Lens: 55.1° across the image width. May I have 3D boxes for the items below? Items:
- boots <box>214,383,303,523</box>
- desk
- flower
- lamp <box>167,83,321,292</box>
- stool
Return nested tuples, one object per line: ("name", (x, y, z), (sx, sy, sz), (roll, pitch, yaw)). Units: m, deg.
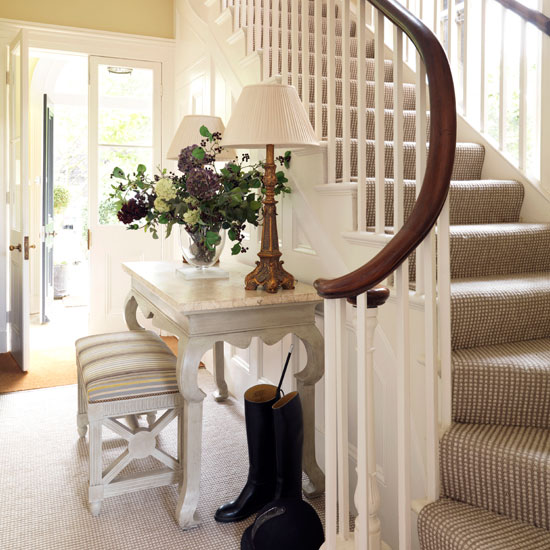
("boots", (-0.047, 0.700, 2.135), (0.362, 0.589, 0.265), (3, 8, 25))
("desk", (-0.161, 0.570, 2.599), (0.535, 0.888, 1.136), (-2, -3, -8))
("flower", (-0.310, -0.290, 2.454), (0.532, 0.467, 0.424), (2, 13, 20))
("lamp", (-0.014, -0.353, 2.150), (0.380, 0.846, 0.404), (1, 7, 5))
("stool", (-0.654, 0.845, 2.486), (0.485, 0.756, 0.921), (0, 9, -18))
